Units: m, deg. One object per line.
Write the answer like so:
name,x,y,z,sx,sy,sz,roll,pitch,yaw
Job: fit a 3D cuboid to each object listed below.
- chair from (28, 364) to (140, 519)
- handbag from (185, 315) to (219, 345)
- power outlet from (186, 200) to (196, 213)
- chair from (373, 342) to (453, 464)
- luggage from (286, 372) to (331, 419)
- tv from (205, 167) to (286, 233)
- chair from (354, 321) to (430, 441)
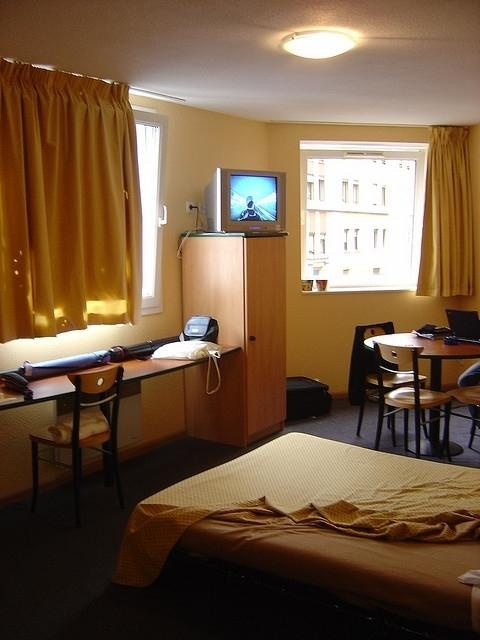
chair,-0.890,0.649,2.728,0.451,0.812,0.458,1,4,2
handbag,-0.285,0.066,3.755,0.180,0.233,0.218,0,-14,20
power outlet,-0.403,-0.919,4.045,0.073,0.115,0.112,4,6,19
chair,1.219,0.588,3.511,0.508,0.876,0.544,-2,4,18
luggage,0.563,0.681,4.461,0.302,0.201,0.398,-3,6,-29
tv,0.023,-0.923,3.996,0.582,0.500,0.617,-4,8,-26
chair,1.261,0.538,4.140,0.595,0.934,0.658,4,6,23
